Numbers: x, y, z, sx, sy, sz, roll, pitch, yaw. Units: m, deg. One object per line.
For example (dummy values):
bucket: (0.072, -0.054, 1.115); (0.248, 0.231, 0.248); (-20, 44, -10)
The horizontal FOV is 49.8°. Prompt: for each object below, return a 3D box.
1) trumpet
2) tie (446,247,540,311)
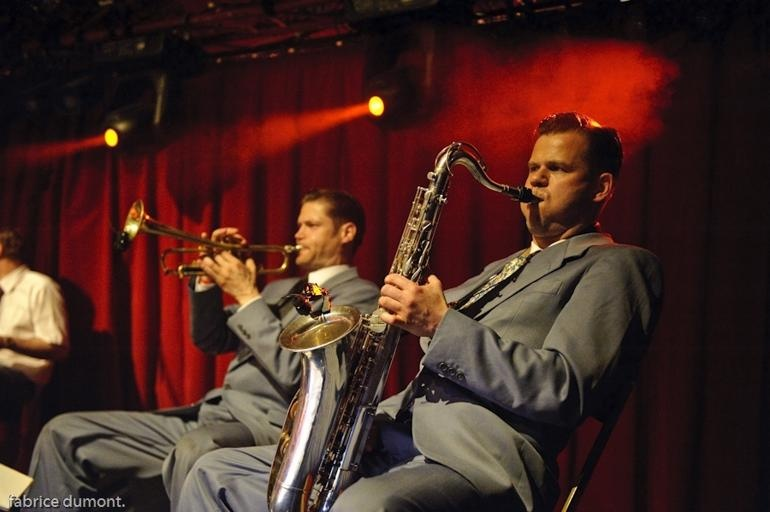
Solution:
trumpet: (-0.943, -0.037, 4.716); (0.243, 0.343, 1.124); (-13, -15, 43)
tie: (0.531, 0.112, 3.950); (0.095, 0.364, 0.052); (42, -2, 33)
